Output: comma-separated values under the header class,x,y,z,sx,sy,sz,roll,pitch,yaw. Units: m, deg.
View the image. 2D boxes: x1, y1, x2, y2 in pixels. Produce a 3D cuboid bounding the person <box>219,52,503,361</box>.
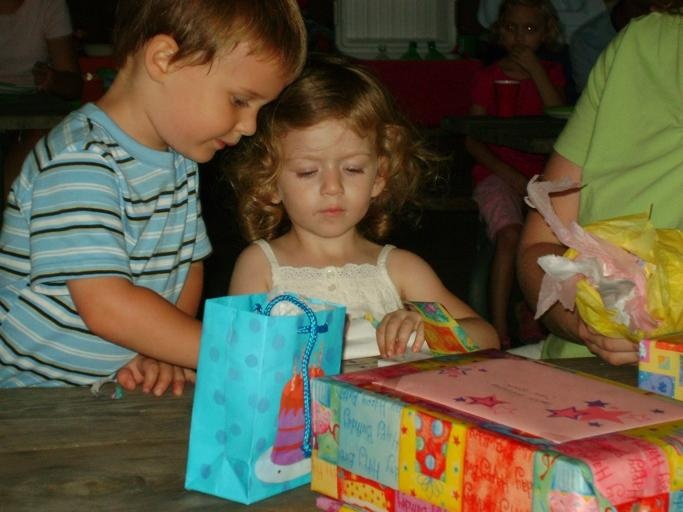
class,x,y,z,sx,sy,sz,roll,pitch,yaw
person,0.017,-0.103,1.725,0.709,0.768,0.641,4,6,28
